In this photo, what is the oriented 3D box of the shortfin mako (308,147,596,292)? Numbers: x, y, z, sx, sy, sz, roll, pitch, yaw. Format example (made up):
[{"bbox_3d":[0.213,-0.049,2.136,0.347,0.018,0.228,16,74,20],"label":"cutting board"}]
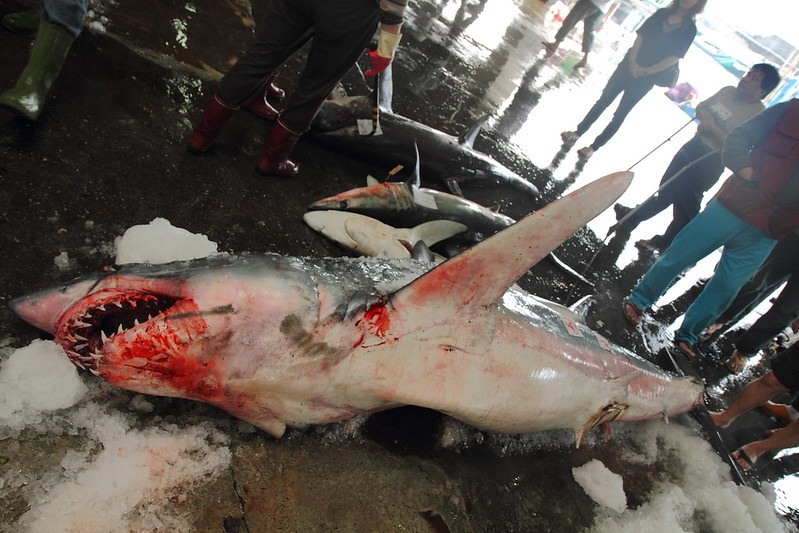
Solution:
[{"bbox_3d":[0.302,-0.482,6.259,2.367,0.854,0.871,2,67,-22],"label":"shortfin mako"}]

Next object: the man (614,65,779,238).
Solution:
[{"bbox_3d":[3.542,-1.342,7.597,0.894,2.354,0.792,7,47,-36],"label":"man"}]
